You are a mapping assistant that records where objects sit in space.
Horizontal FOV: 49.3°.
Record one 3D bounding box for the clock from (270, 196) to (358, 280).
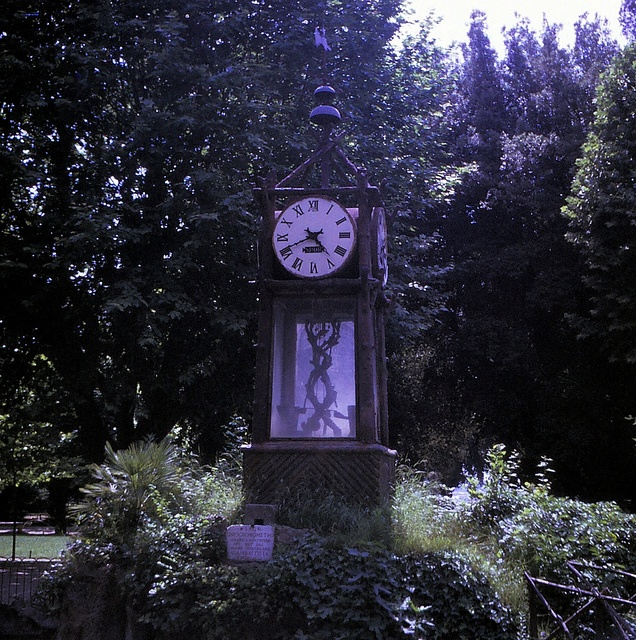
[{"bbox_3d":[-0.052,-0.935,8.147,0.788,0.894,0.111,8,-12,9],"label":"clock"}]
